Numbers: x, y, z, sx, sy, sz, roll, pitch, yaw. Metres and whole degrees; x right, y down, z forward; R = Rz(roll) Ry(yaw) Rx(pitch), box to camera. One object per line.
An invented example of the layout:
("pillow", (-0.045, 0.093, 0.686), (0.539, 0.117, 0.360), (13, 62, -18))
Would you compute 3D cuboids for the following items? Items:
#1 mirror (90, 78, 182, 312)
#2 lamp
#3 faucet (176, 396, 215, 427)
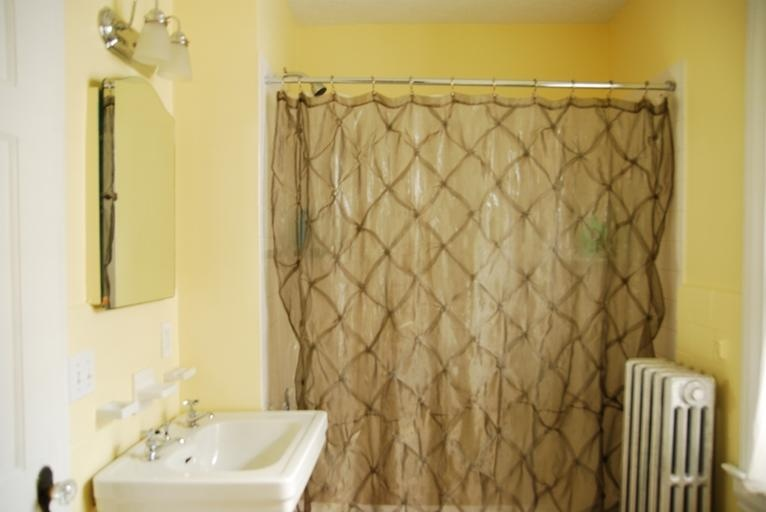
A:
("mirror", (-1.118, -0.293, 2.972), (0.104, 1.002, 0.497), (2, 5, 24))
("lamp", (-1.021, -0.979, 2.895), (0.263, 0.380, 0.310), (3, 5, 29))
("faucet", (-0.906, 0.727, 3.163), (0.100, 0.119, 0.184), (1, 2, 13))
